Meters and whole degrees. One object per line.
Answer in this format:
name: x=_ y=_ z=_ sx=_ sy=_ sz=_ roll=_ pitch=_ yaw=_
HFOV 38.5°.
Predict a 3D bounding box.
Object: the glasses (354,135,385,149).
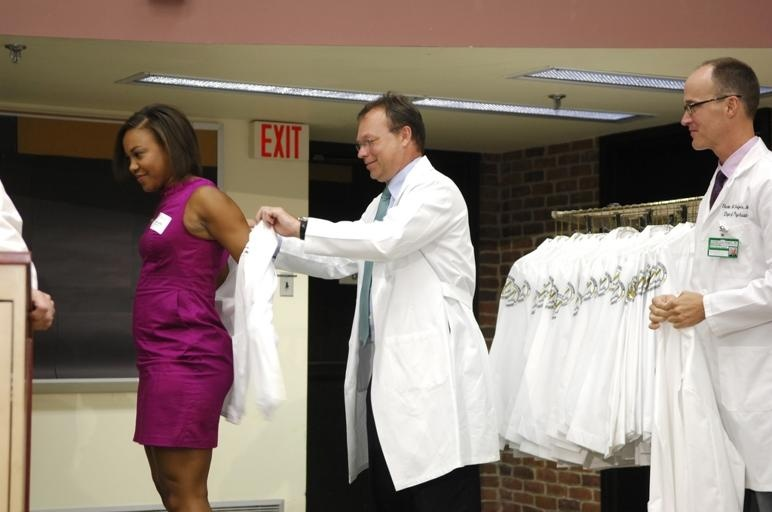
glasses: x=-0.073 y=-0.555 z=5.281 sx=0.074 sy=0.021 sz=0.071 roll=8 pitch=-21 yaw=-38
